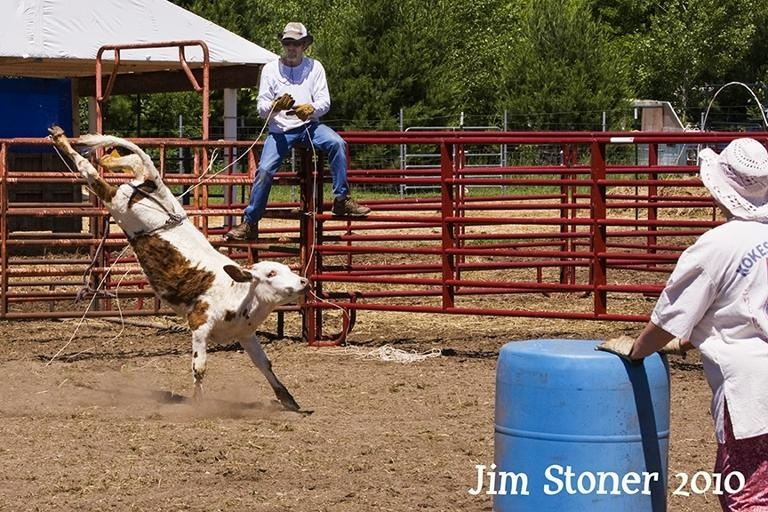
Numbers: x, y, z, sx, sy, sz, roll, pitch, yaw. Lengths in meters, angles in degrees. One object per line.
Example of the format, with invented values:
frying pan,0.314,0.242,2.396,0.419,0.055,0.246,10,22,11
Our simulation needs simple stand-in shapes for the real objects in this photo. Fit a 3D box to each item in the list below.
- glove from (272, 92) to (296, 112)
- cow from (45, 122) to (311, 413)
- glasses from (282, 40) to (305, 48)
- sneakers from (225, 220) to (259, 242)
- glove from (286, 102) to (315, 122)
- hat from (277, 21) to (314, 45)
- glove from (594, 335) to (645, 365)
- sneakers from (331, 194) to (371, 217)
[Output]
glove,-1.111,-1.681,14.151,0.202,0.193,0.070,3,44,-11
cow,-2.404,0.244,14.559,1.785,3.461,1.089,-41,1,18
glasses,-1.028,-2.367,14.534,0.136,0.035,0.143,-2,-7,-1
sneakers,-1.647,-0.259,14.636,0.356,0.217,0.179,7,11,-6
glove,-0.947,-1.579,14.360,0.244,0.112,0.192,-5,29,10
hat,-1.011,-2.521,14.604,0.266,0.137,0.316,0,-3,4
glove,2.049,0.787,11.044,0.322,0.114,0.200,18,23,24
sneakers,-0.394,-0.553,14.763,0.432,0.193,0.197,0,11,3
